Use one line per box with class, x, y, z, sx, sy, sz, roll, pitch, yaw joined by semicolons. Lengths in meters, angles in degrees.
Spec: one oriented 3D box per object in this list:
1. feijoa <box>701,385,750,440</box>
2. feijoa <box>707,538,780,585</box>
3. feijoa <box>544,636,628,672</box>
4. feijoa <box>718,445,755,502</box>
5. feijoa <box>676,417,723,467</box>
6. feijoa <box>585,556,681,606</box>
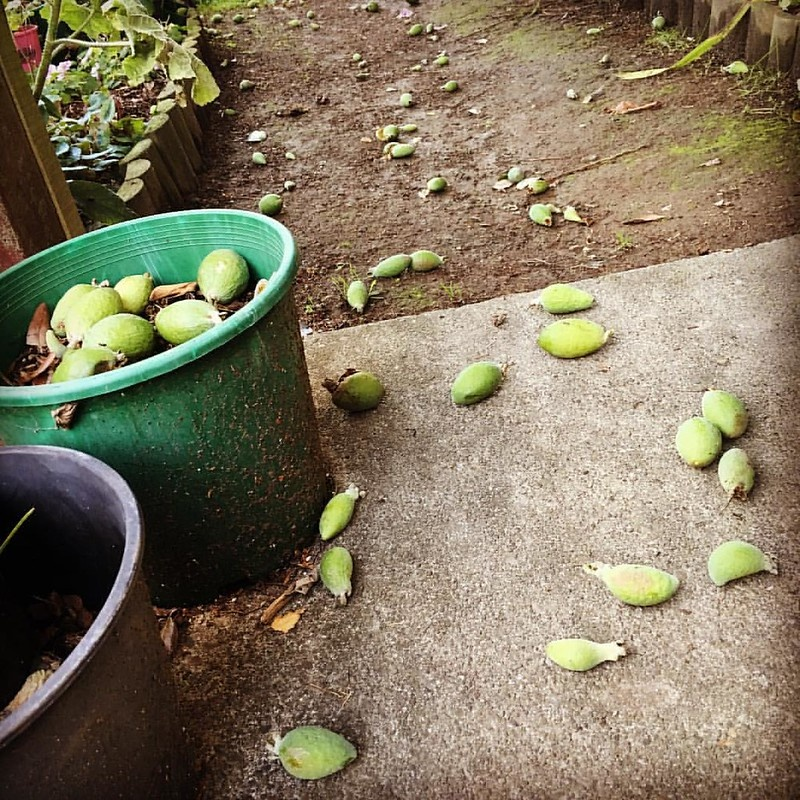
feijoa;0.935;0.037;2.516;0.126;0.090;0.149;-9;45;-3
feijoa;0.872;0.410;2.206;0.169;0.084;0.092;-10;38;-4
feijoa;0.458;0.618;2.105;0.188;0.052;0.073;-2;30;8
feijoa;0.889;0.198;2.337;0.102;0.079;0.131;7;47;1
feijoa;0.860;0.129;2.489;0.130;0.110;0.137;-3;52;22
feijoa;0.585;0.464;2.225;0.244;0.080;0.102;12;42;25
